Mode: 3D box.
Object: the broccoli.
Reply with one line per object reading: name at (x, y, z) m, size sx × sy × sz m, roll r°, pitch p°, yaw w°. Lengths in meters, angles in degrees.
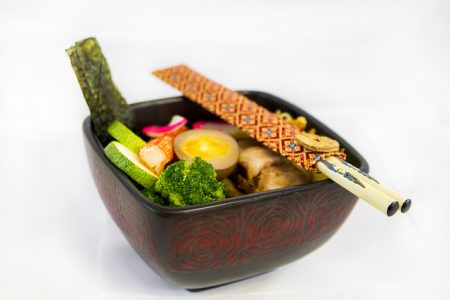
broccoli at (-0.207, 0.195, 2.285) m, size 0.300 × 0.120 × 0.348 m, roll 1°, pitch 25°, yaw -2°
